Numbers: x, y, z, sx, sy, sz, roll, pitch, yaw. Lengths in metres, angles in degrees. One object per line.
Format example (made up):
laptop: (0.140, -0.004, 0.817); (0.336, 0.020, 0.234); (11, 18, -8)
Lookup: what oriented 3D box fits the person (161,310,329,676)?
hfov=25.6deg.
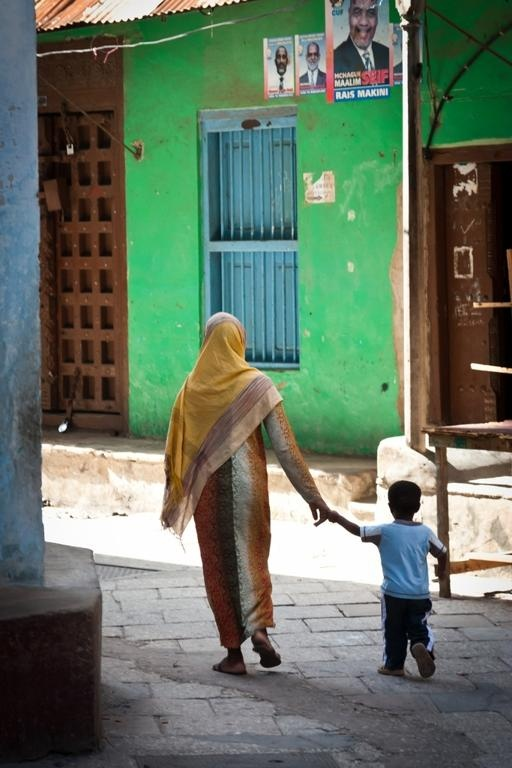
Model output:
person: (-0.070, 0.428, 4.571); (0.365, 1.430, 0.754); (-4, 4, -43)

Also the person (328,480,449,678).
person: (0.609, 0.905, 5.092); (0.647, 1.135, 0.479); (1, -3, 1)

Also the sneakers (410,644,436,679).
sneakers: (0.635, 1.052, 4.328); (0.068, 0.161, 0.064); (-21, -2, 25)

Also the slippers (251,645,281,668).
slippers: (0.047, 1.072, 4.445); (0.058, 0.068, 0.153); (-10, -29, 18)
